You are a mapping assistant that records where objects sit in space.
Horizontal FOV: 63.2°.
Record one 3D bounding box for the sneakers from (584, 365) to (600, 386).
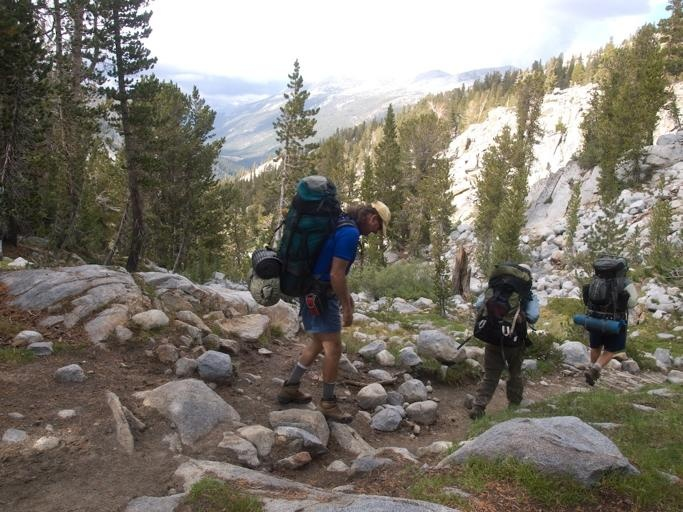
[{"bbox_3d":[5.812,2.753,12.855,0.278,0.677,0.233,-41,29,-29],"label":"sneakers"}]
